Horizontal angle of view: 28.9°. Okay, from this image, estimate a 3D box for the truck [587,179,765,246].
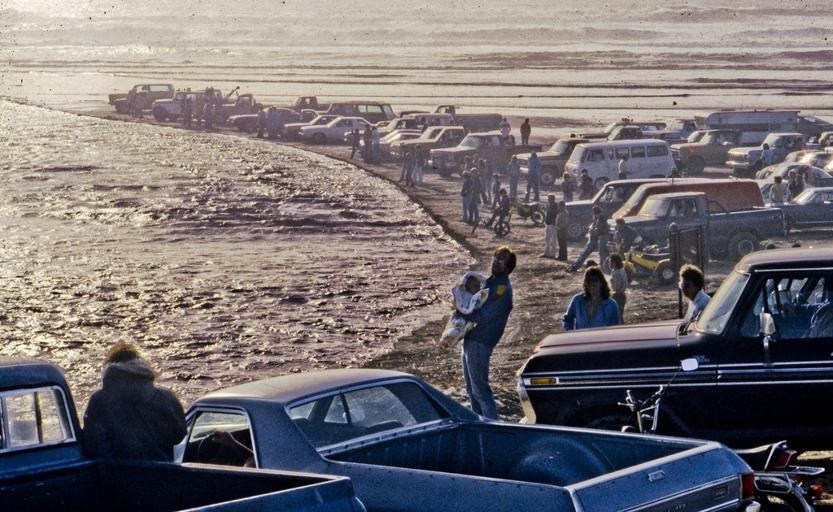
[{"bbox_3d":[21.326,-3.614,125.446,10.099,3.591,4.558,-2,6,-10],"label":"truck"}]
